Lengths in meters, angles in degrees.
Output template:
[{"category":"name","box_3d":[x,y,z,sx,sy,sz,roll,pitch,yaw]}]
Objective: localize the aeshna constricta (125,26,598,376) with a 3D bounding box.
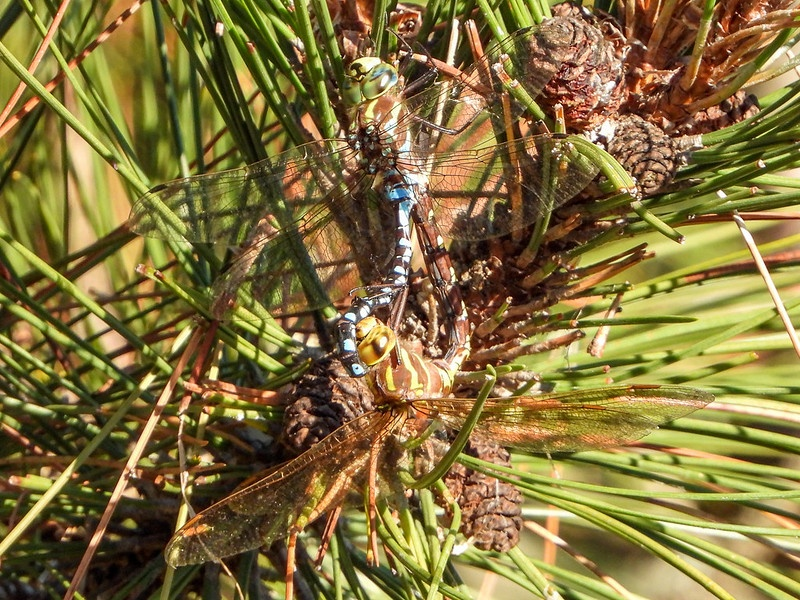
[{"category":"aeshna constricta","box_3d":[-0.038,-0.167,1.642,0.797,0.566,0.360,-13,9,23]}]

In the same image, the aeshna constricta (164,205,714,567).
[{"category":"aeshna constricta","box_3d":[0.009,0.122,1.469,0.848,0.374,0.448,-33,12,11]}]
